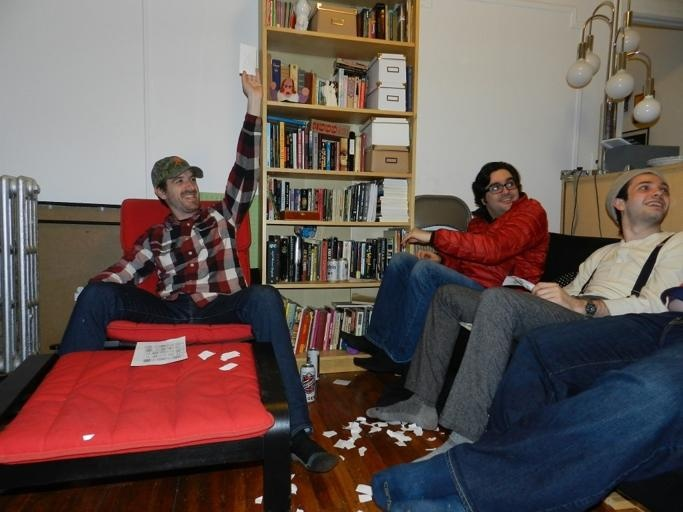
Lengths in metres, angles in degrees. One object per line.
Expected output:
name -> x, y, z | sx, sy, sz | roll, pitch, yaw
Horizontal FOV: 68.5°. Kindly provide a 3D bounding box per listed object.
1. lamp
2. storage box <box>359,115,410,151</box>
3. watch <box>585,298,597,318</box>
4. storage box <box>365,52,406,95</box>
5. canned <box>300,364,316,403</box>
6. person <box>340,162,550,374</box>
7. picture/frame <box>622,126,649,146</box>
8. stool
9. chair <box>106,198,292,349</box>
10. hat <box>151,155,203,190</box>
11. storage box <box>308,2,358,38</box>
lamp -> 2.024, -1.450, 3.668 | 0.555, 1.028, 0.989 | 3, 9, 31
storage box -> 0.339, -0.869, 3.541 | 0.231, 0.148, 0.236 | 0, 5, -10
watch -> 1.137, 0.240, 2.279 | 0.044, 0.065, 0.020 | 1, -8, -2
storage box -> 0.329, -1.276, 3.614 | 0.205, 0.252, 0.383 | -3, 8, -16
canned -> -0.186, 0.724, 2.875 | 0.074, 0.211, 0.130 | 3, 9, 30
person -> 0.686, 0.060, 3.142 | 1.091, 1.392, 0.719 | 11, 2, -10
picture/frame -> 3.028, -1.219, 5.136 | 0.220, 0.158, 0.330 | 2, 8, 22
stool -> -0.759, 0.730, 2.063 | 1.082, 0.542, 0.561 | -2, 8, -7
chair -> -0.940, 0.042, 2.930 | 0.807, 0.851, 0.833 | 1, -1, -9
hat -> -1.007, -0.480, 3.037 | 0.262, 0.141, 0.196 | -26, 2, 29
storage box -> -0.048, -1.591, 3.408 | 0.250, 0.164, 0.255 | 0, 13, -18
